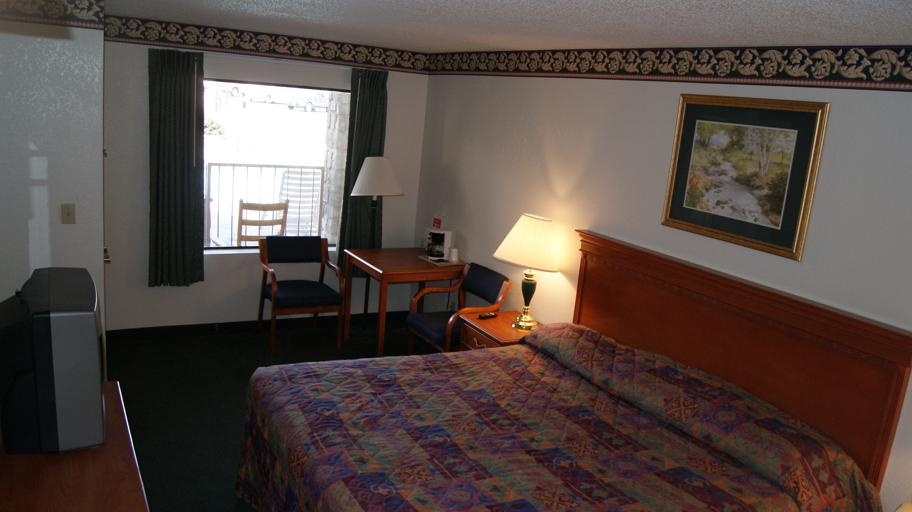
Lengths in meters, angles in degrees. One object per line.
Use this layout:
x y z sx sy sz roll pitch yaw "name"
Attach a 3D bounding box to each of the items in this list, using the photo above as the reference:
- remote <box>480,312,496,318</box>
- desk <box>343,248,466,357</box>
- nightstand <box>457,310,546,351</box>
0.371 0.678 6.649 0.135 0.034 0.074 -2 18 -35 "remote"
-0.898 0.414 7.573 0.840 0.743 0.763 -6 24 -45 "desk"
0.455 0.801 6.436 0.540 0.562 0.589 -2 12 -25 "nightstand"
